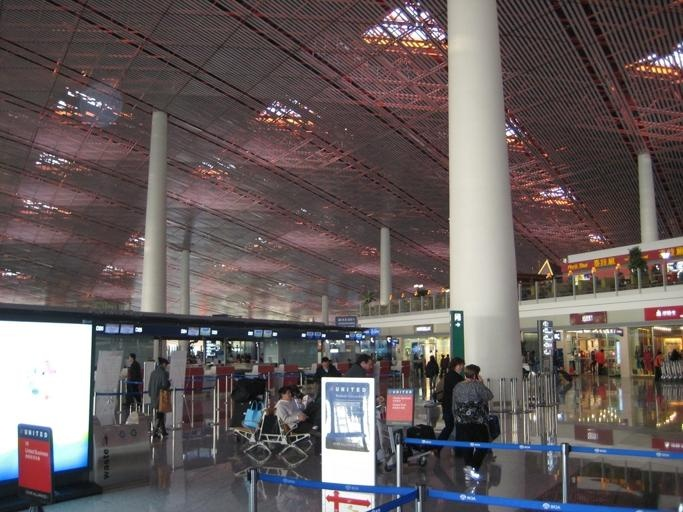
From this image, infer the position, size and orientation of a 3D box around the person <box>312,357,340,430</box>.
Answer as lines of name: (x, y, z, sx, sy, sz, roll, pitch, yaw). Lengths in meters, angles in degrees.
person: (-0.309, 3.311, 13.141, 0.866, 1.609, 0.607, -1, -7, -21)

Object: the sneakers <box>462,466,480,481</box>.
sneakers: (1.887, 3.143, 7.854, 0.221, 0.194, 0.363, -4, -12, 12)

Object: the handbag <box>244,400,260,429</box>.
handbag: (-1.837, 3.347, 11.383, 0.318, 0.463, 0.174, 1, -19, 26)

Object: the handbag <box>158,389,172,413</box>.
handbag: (-3.813, 3.108, 11.663, 0.235, 0.500, 0.249, 2, -13, -18)

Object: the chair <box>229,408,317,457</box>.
chair: (-1.408, 3.435, 10.750, 1.483, 0.489, 0.890, 2, -7, 12)

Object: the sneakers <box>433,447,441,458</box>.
sneakers: (1.674, 3.469, 9.583, 0.098, 0.082, 0.156, 5, 34, 23)

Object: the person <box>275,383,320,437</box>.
person: (-0.910, 3.052, 10.795, 0.822, 0.893, 0.776, -1, -12, -3)

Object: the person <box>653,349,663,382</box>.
person: (14.769, 5.132, 25.393, 0.406, 1.299, 1.188, -9, -14, 28)
